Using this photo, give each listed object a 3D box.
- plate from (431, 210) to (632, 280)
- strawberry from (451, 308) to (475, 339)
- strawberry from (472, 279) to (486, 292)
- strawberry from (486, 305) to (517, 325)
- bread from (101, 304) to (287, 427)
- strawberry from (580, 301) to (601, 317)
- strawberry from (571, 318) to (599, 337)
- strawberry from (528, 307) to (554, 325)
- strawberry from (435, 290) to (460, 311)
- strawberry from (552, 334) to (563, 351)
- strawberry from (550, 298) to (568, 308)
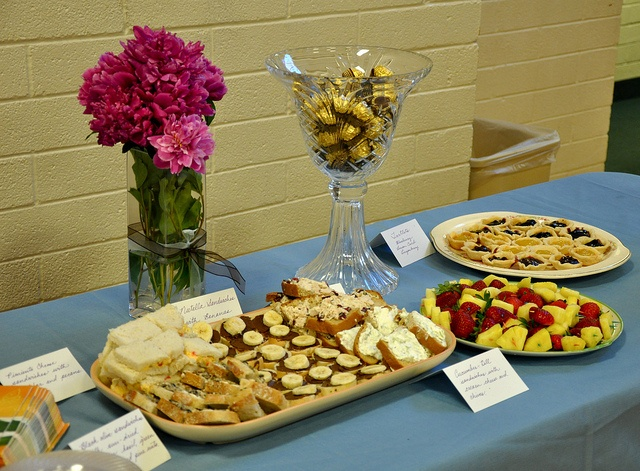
[{"bbox_3d":[0.494,0.023,1.105,0.273,0.022,0.240,-10,22,-27],"label":"plate"},{"bbox_3d":[0.236,0.148,0.791,0.040,0.033,0.041,3,48,-21],"label":"strawberry"},{"bbox_3d":[0.311,0.097,0.923,0.023,0.010,0.022,-22,24,-29],"label":"strawberry"},{"bbox_3d":[0.309,0.135,0.810,0.045,0.013,0.028,6,14,-3],"label":"strawberry"},{"bbox_3d":[-0.176,0.178,0.627,0.208,0.055,0.131,22,42,27],"label":"bread"},{"bbox_3d":[0.478,0.129,0.837,0.027,0.015,0.030,-13,4,0],"label":"strawberry"},{"bbox_3d":[0.448,0.154,0.808,0.047,0.013,0.029,-14,-4,2],"label":"strawberry"},{"bbox_3d":[0.369,0.133,0.794,0.038,0.022,0.019,18,18,8],"label":"strawberry"},{"bbox_3d":[0.235,0.118,0.869,0.040,0.031,0.035,15,-1,-28],"label":"strawberry"},{"bbox_3d":[0.390,0.175,0.776,0.018,0.020,0.017,38,40,-2],"label":"strawberry"},{"bbox_3d":[0.430,0.121,0.848,0.031,0.014,0.018,10,-8,-7],"label":"strawberry"}]
